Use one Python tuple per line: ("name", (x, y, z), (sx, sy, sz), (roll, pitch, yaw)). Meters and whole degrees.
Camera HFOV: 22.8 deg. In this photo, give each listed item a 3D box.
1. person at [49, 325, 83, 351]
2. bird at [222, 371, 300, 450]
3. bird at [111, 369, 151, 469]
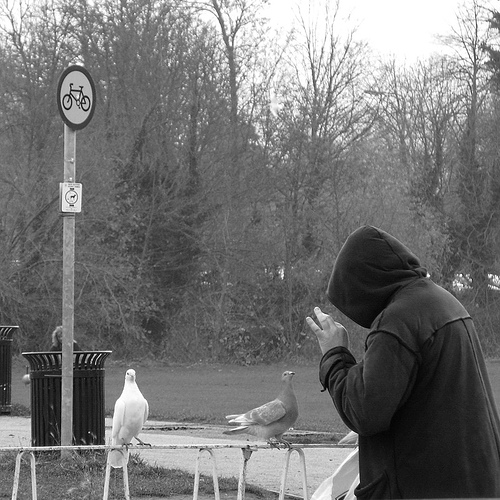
("person", (-3.261, 1.546, 21.804), (0.469, 0.541, 2.112), (2, -7, -9))
("bird", (0.157, 2.114, 16.547), (0.887, 1.060, 0.529), (0, -7, 17))
("bird", (-1.651, 2.316, 17.014), (0.496, 1.384, 1.736), (1, -6, -5))
